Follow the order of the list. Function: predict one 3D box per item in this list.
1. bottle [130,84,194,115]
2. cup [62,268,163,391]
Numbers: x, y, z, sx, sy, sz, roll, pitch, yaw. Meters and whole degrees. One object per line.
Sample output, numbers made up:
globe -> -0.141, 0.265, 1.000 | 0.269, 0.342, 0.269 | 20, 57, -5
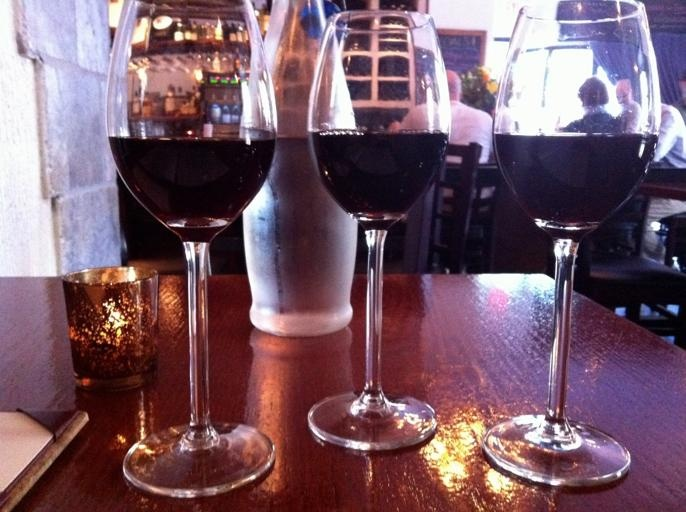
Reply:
bottle -> -0.139, -0.120, 0.481 | 0.050, 0.023, 0.008 | 0, 13, 0
cup -> -0.227, 0.071, 0.664 | 0.106, 0.127, 0.108 | 0, 2, 0
